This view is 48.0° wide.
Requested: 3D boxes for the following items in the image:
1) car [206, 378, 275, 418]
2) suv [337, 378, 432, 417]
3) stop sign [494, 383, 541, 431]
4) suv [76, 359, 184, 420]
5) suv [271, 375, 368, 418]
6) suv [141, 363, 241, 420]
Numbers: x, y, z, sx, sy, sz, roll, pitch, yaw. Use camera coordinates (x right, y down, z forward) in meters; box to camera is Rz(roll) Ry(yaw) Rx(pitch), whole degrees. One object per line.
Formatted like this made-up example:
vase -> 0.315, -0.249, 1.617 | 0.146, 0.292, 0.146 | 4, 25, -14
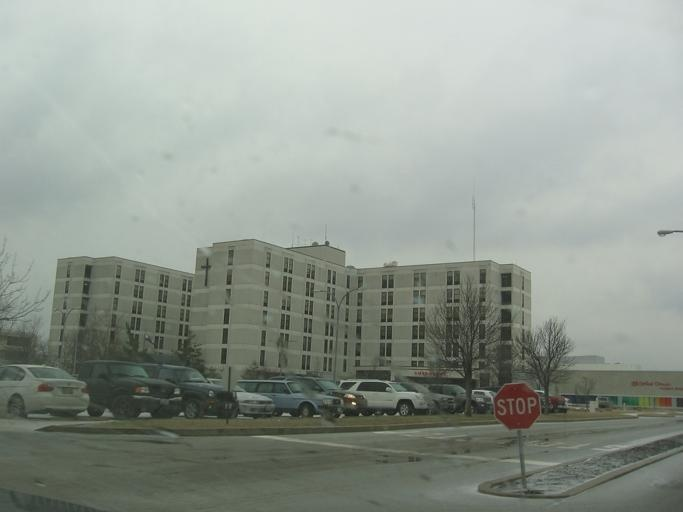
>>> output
car -> -4.050, 5.943, 30.563 | 1.976, 1.993, 3.143 | -4, -10, 37
suv -> 2.018, 6.929, 37.725 | 3.928, 1.642, 1.919 | -3, -9, 12
stop sign -> 3.763, 3.223, 16.504 | 0.935, 0.985, 0.471 | -2, -12, 10
suv -> -7.142, 4.535, 26.078 | 3.279, 1.971, 1.514 | 3, -12, -11
suv -> -1.198, 6.431, 36.170 | 3.260, 2.144, 6.228 | -5, -12, 37
suv -> -5.085, 4.895, 27.830 | 3.414, 1.609, 1.949 | -7, -11, 32
